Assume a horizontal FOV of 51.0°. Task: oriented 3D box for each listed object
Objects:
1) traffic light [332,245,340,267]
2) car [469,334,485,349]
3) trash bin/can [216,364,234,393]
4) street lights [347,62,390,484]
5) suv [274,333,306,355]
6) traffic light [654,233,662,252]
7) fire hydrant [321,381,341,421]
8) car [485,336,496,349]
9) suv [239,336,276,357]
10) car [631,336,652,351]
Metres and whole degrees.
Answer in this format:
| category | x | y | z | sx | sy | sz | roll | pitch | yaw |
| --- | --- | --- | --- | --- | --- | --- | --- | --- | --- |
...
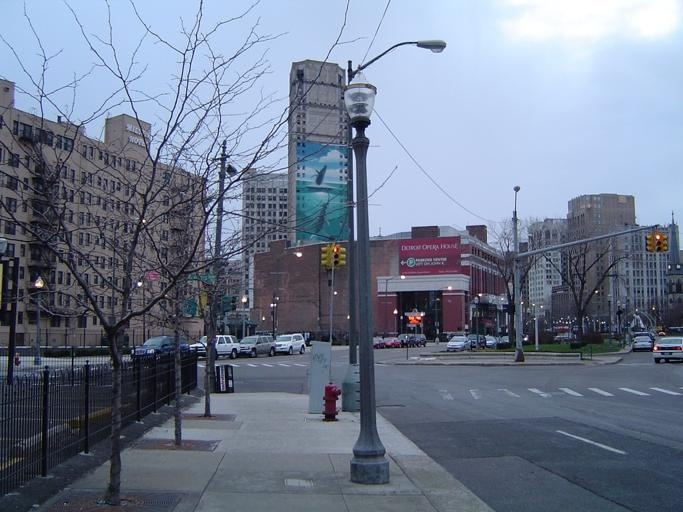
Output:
| category | x | y | z | sx | sy | sz | roll | pitch | yaw |
| --- | --- | --- | --- | --- | --- | --- | --- | --- | --- |
| traffic light | -0.210 | -0.006 | 27.385 | 0.262 | 0.761 | 0.883 | -1 | -9 | -1 |
| car | 14.440 | 9.083 | 76.017 | 1.373 | 1.054 | 2.715 | -4 | -14 | 12 |
| trash bin/can | -4.413 | 4.711 | 27.777 | 0.912 | 1.484 | 0.795 | 0 | -6 | -9 |
| street lights | 0.436 | 0.381 | 13.541 | 0.674 | 7.596 | 0.711 | -3 | -8 | 20 |
| suv | -4.750 | 7.963 | 65.413 | 1.891 | 2.028 | 5.072 | -2 | -10 | 7 |
| traffic light | 15.227 | -0.708 | 34.466 | 0.276 | 0.845 | 0.731 | -3 | -9 | 17 |
| fire hydrant | -0.295 | 4.065 | 20.106 | 0.446 | 1.018 | 1.182 | -1 | -9 | -2 |
| car | 16.482 | 9.463 | 79.069 | 0.989 | 0.992 | 1.855 | -4 | -17 | 13 |
| suv | -7.314 | 7.458 | 59.025 | 1.181 | 1.098 | 2.842 | -5 | -15 | 16 |
| car | 26.642 | 7.690 | 63.825 | 1.177 | 1.023 | 2.902 | -2 | -2 | 13 |
